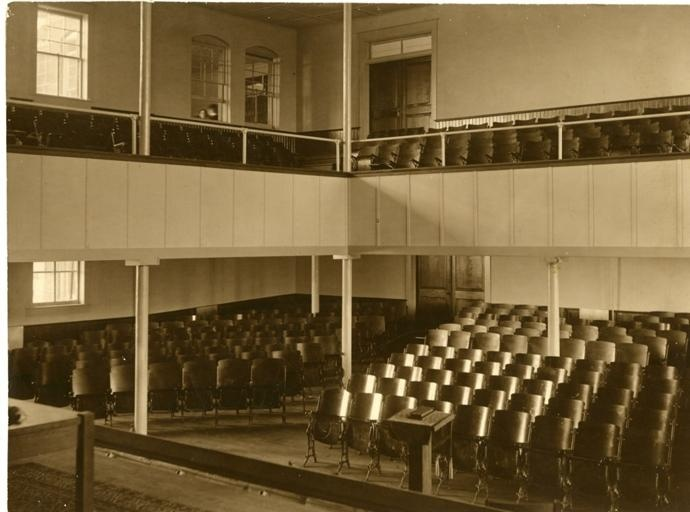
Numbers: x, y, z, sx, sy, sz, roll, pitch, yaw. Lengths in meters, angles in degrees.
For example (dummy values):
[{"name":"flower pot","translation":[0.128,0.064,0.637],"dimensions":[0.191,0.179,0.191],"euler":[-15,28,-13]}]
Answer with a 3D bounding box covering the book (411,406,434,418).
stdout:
[{"name":"book","translation":[0.892,1.828,9.805],"dimensions":[0.146,0.066,0.229],"euler":[-3,0,19]}]
